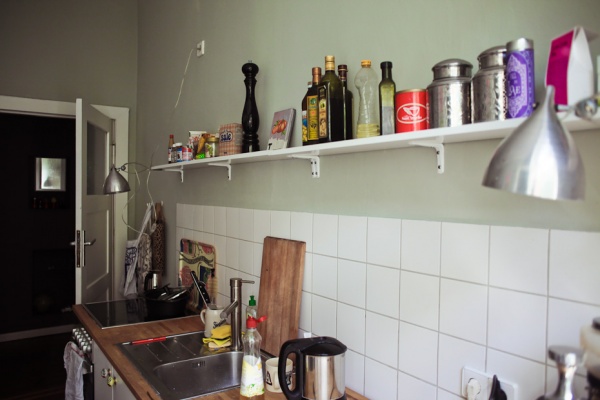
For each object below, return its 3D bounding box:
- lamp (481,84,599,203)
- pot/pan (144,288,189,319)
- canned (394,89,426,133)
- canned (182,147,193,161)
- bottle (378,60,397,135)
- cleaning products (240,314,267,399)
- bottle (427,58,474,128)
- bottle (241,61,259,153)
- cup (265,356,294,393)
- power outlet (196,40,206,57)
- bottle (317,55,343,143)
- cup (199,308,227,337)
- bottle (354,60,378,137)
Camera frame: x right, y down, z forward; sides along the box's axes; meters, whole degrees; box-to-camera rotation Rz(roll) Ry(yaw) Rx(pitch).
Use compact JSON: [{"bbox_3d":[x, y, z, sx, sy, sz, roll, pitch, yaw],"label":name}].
[{"bbox_3d":[0.748,-0.184,1.478,0.363,0.334,0.282,3,9,-35],"label":"lamp"},{"bbox_3d":[-0.856,0.664,2.960,0.181,0.101,0.228,-2,-7,6],"label":"pot/pan"},{"bbox_3d":[0.458,-0.350,1.902,0.150,0.175,0.148,1,-2,-43],"label":"canned"},{"bbox_3d":[-0.737,-0.304,2.996,0.073,0.088,0.037,-1,5,24],"label":"canned"},{"bbox_3d":[0.365,-0.426,1.922,0.065,0.302,0.144,-2,5,9],"label":"bottle"},{"bbox_3d":[-0.234,0.738,2.183,0.104,0.301,0.223,-4,5,-7],"label":"cleaning products"},{"bbox_3d":[0.564,-0.401,1.736,0.162,0.248,0.073,-1,5,20],"label":"bottle"},{"bbox_3d":[-0.287,-0.529,2.626,0.123,0.506,0.156,-3,5,4],"label":"bottle"},{"bbox_3d":[-0.090,0.824,2.181,0.121,0.143,0.203,0,2,1],"label":"cup"},{"bbox_3d":[-0.685,-1.048,3.191,0.022,0.114,0.133,-6,6,-33],"label":"power outlet"},{"bbox_3d":[0.141,-0.461,2.110,0.108,0.388,0.093,-1,5,23],"label":"bottle"},{"bbox_3d":[-0.516,0.704,2.660,0.114,0.186,0.182,3,-2,-29],"label":"cup"},{"bbox_3d":[0.289,-0.432,1.973,0.100,0.331,0.198,-2,5,9],"label":"bottle"}]
